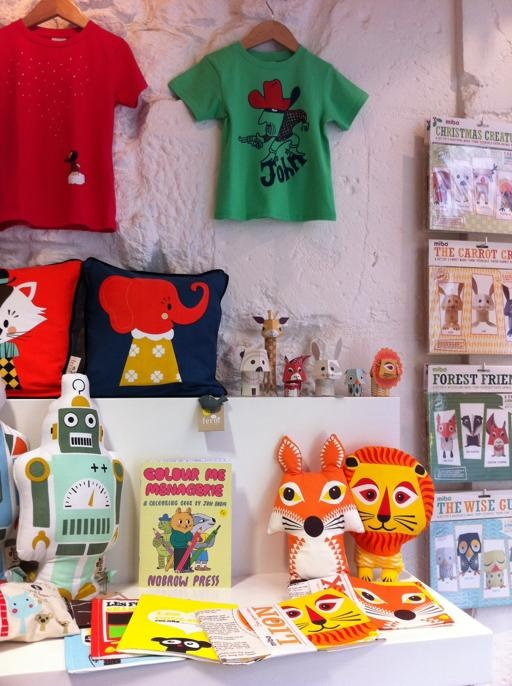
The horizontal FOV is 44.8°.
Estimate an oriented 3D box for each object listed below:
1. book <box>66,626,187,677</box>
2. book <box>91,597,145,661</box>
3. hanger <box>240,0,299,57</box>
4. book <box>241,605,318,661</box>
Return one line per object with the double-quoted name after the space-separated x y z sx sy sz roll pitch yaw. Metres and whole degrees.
-0.250 0.538 1.057 0.219 0.033 0.110 -3 -2 22 "book"
-0.257 0.530 1.157 0.091 0.011 0.118 5 30 -13 "book"
0.035 -0.898 1.763 0.190 0.177 0.006 -1 6 -11 "hanger"
0.041 0.544 1.191 0.125 0.012 0.291 18 -4 10 "book"
